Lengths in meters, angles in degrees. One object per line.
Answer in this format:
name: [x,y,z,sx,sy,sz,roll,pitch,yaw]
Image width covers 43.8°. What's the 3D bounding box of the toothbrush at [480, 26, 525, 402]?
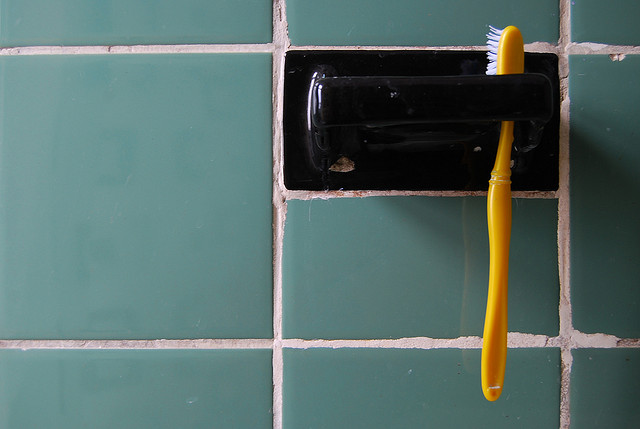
toothbrush: [0.208,-0.002,0.985,0.037,0.458,0.055,4,2,37]
